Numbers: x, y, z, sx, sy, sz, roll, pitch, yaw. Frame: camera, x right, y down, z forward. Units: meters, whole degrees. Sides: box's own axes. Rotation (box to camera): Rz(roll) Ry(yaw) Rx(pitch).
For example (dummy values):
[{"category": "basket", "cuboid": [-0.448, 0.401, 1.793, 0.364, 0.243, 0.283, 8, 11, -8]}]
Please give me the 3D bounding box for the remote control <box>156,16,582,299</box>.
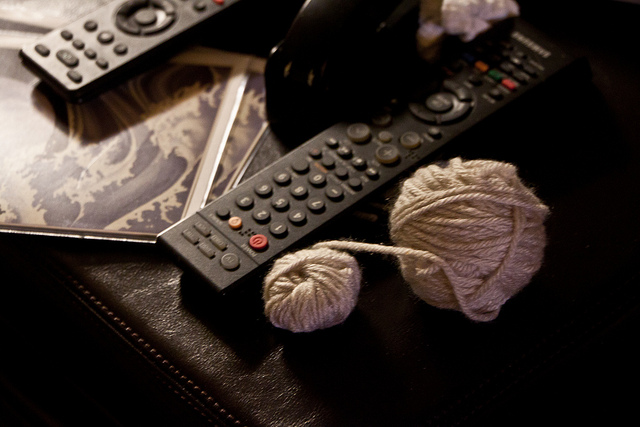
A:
[{"category": "remote control", "cuboid": [0.156, -0.074, 0.629, 0.605, 0.075, 0.148, -29, 56, -10]}]
